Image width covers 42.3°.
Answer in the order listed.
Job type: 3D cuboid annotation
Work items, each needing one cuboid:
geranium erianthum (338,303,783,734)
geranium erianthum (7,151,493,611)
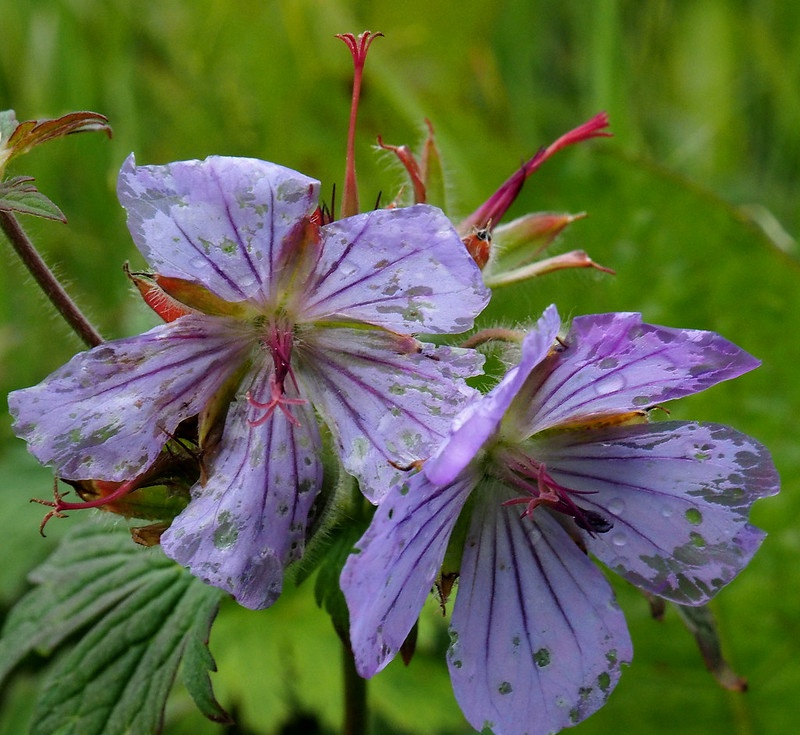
[{"bbox_3d":[0.296,0.253,2.110,0.882,0.419,0.774,23,101,-3],"label":"geranium erianthum"},{"bbox_3d":[-0.259,-0.004,1.807,0.646,0.567,0.664,32,62,20],"label":"geranium erianthum"}]
